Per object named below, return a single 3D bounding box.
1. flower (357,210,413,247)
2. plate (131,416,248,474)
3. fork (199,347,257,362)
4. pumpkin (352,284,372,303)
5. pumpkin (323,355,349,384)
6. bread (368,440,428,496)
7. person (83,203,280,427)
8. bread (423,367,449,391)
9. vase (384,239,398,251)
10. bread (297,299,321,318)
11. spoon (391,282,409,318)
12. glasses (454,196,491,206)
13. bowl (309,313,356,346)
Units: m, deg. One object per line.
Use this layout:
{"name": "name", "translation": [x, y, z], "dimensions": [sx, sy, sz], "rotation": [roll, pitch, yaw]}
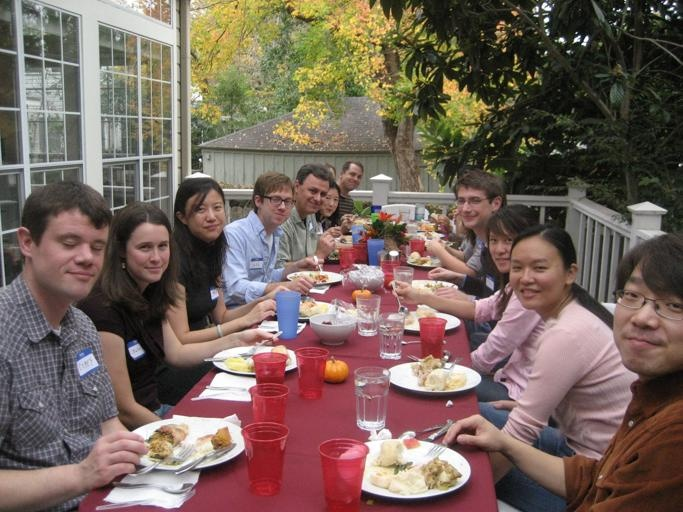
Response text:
{"name": "flower", "translation": [0.413, -0.250, 4.636], "dimensions": [0.327, 0.281, 0.321], "rotation": [10, 7, -4]}
{"name": "plate", "translation": [-0.446, 0.593, 1.630], "dimensions": [0.207, 0.025, 0.196], "rotation": [-2, 10, -17]}
{"name": "fork", "translation": [-0.506, 0.442, 2.344], "dimensions": [0.139, 0.024, 0.097], "rotation": [-9, 5, -36]}
{"name": "pumpkin", "translation": [0.122, 0.232, 3.179], "dimensions": [0.093, 0.126, 0.094], "rotation": [-3, 12, -4]}
{"name": "pumpkin", "translation": [-0.022, 0.473, 2.166], "dimensions": [0.094, 0.091, 0.094], "rotation": [-4, 0, -4]}
{"name": "bread", "translation": [0.164, 0.624, 1.510], "dimensions": [0.127, 0.039, 0.126], "rotation": [19, 28, 33]}
{"name": "person", "translation": [-0.796, 0.528, 2.581], "dimensions": [0.927, 1.496, 0.545], "rotation": [-1, 13, 0]}
{"name": "bread", "translation": [0.376, 0.489, 2.036], "dimensions": [0.070, 0.027, 0.081], "rotation": [-2, 39, 8]}
{"name": "vase", "translation": [0.436, -0.093, 4.560], "dimensions": [0.109, 0.119, 0.108], "rotation": [-3, 0, 2]}
{"name": "bread", "translation": [-0.181, 0.287, 2.808], "dimensions": [0.092, 0.043, 0.113], "rotation": [0, 15, -2]}
{"name": "spoon", "translation": [0.357, 0.265, 3.139], "dimensions": [0.060, 0.304, 0.044], "rotation": [4, 51, 16]}
{"name": "glasses", "translation": [1.066, -0.462, 4.348], "dimensions": [0.120, 0.063, 0.268], "rotation": [-6, 8, -28]}
{"name": "bowl", "translation": [-0.043, 0.341, 2.516], "dimensions": [0.173, 0.082, 0.174], "rotation": [-1, 0, 0]}
